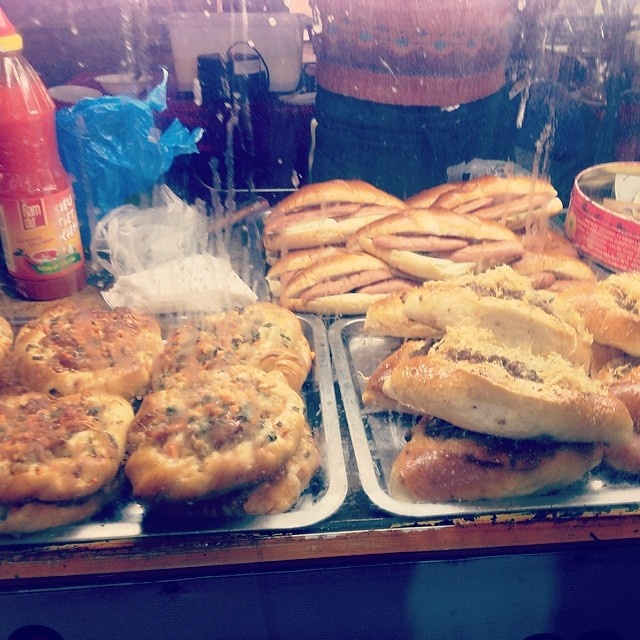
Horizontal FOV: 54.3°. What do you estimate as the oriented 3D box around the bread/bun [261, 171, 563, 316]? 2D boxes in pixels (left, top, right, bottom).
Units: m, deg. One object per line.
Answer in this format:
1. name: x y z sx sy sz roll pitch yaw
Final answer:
1. bread/bun: 0.154 -0.163 1.174 0.406 0.152 0.305 -14 25 -4
